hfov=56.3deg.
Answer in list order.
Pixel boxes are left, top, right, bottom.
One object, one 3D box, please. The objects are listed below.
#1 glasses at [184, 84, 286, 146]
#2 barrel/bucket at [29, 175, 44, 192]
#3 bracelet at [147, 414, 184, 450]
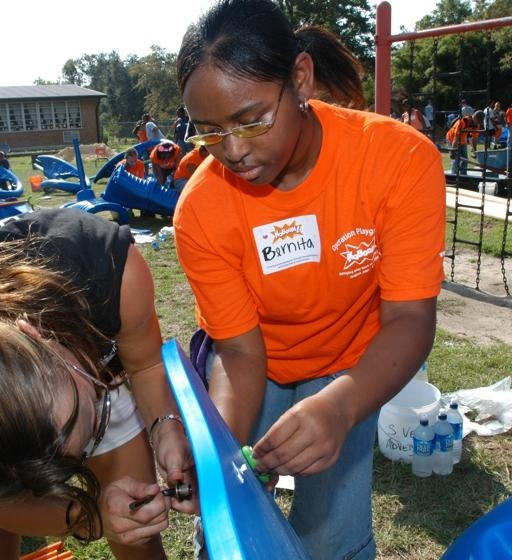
[{"bbox_3d":[-0.032,-0.384,1.109,0.212,0.137,0.100,-2,16,-1],"label":"glasses"},{"bbox_3d":[-6.655,-2.854,14.327,0.312,0.426,0.739,-10,18,-25],"label":"barrel/bucket"},{"bbox_3d":[-0.272,0.430,1.396,0.101,0.089,0.028,-11,14,13],"label":"bracelet"}]
